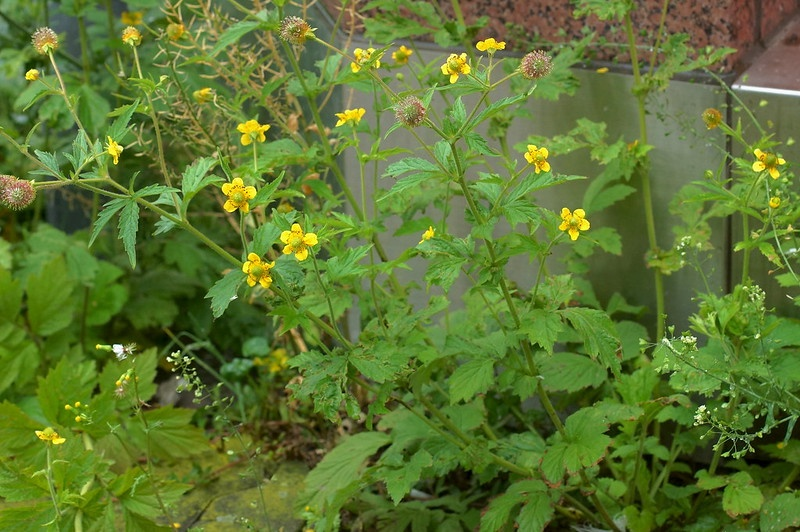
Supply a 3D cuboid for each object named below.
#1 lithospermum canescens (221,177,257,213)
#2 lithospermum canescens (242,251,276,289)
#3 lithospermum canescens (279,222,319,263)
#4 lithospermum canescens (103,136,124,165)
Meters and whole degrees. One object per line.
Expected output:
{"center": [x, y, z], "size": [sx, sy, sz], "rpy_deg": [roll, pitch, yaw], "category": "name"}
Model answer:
{"center": [-0.539, -0.232, 2.186], "size": [0.109, 0.118, 0.103], "rpy_deg": [-13, 25, -14], "category": "lithospermum canescens"}
{"center": [-0.466, 0.025, 2.158], "size": [0.103, 0.133, 0.089], "rpy_deg": [-16, 26, -20], "category": "lithospermum canescens"}
{"center": [-0.333, -0.083, 2.157], "size": [0.120, 0.109, 0.064], "rpy_deg": [-11, 24, -8], "category": "lithospermum canescens"}
{"center": [-0.978, -0.391, 2.225], "size": [0.049, 0.111, 0.155], "rpy_deg": [-16, 27, -21], "category": "lithospermum canescens"}
